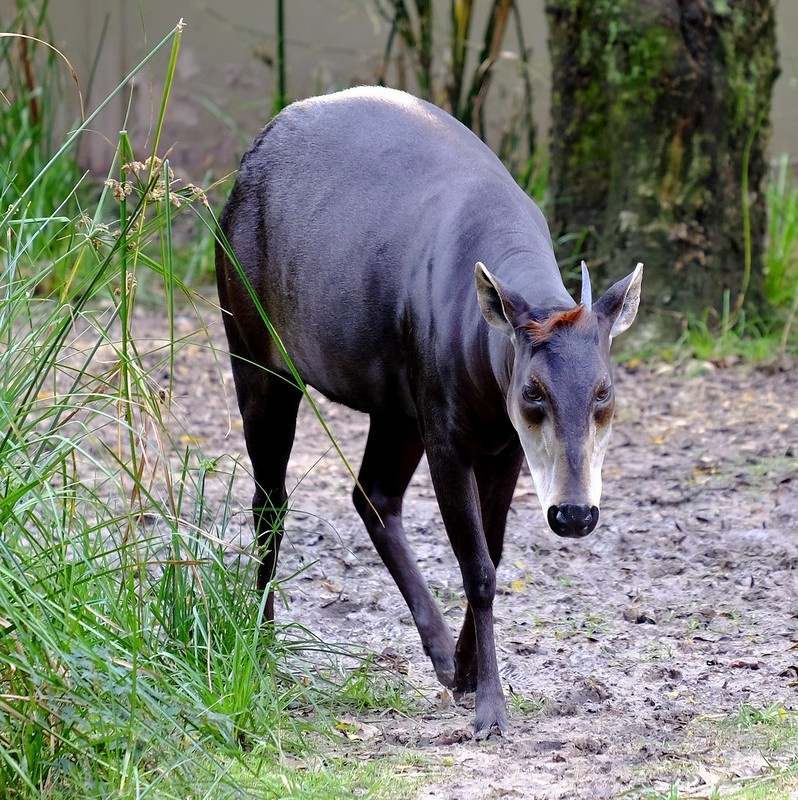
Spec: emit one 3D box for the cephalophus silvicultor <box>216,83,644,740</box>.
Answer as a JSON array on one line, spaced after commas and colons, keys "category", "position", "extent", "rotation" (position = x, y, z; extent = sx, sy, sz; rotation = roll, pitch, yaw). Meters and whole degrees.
[{"category": "cephalophus silvicultor", "position": [0.081, 0.087, 3.611], "extent": [0.527, 1.724, 1.904], "rotation": [-8, 20, -24]}]
